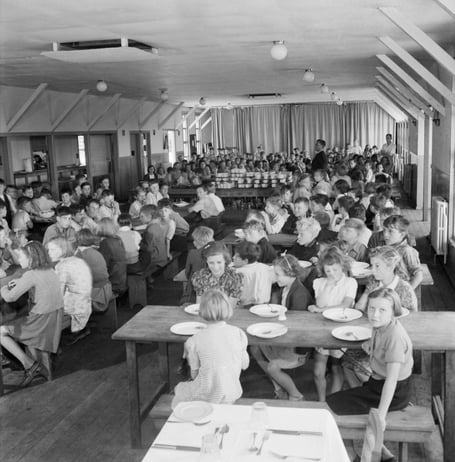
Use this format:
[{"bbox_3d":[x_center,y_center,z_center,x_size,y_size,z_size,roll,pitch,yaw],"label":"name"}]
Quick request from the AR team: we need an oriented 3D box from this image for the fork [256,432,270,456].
[{"bbox_3d":[0.139,0.820,1.655,0.019,0.014,0.137,4,11,15],"label":"fork"}]

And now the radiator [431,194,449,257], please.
[{"bbox_3d":[3.564,-0.084,7.153,0.136,0.827,0.997,1,13,16],"label":"radiator"}]

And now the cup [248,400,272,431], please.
[{"bbox_3d":[0.124,0.740,1.735,0.096,0.106,0.107,0,-2,2],"label":"cup"}]

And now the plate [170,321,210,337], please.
[{"bbox_3d":[-0.273,0.649,2.862,0.228,0.034,0.254,3,10,31],"label":"plate"}]

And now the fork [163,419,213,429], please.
[{"bbox_3d":[-0.162,0.819,1.812,0.218,0.032,0.030,0,21,5],"label":"fork"}]

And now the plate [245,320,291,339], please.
[{"bbox_3d":[0.255,0.638,2.768,0.265,0.028,0.278,-2,9,1],"label":"plate"}]

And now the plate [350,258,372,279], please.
[{"bbox_3d":[1.347,0.386,4.312,0.229,0.035,0.234,-1,21,0],"label":"plate"}]

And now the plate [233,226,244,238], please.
[{"bbox_3d":[0.169,0.010,6.996,0.194,0.087,0.195,0,5,5],"label":"plate"}]

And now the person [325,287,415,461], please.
[{"bbox_3d":[0.815,0.847,2.444,0.431,1.099,0.437,6,12,43],"label":"person"}]
